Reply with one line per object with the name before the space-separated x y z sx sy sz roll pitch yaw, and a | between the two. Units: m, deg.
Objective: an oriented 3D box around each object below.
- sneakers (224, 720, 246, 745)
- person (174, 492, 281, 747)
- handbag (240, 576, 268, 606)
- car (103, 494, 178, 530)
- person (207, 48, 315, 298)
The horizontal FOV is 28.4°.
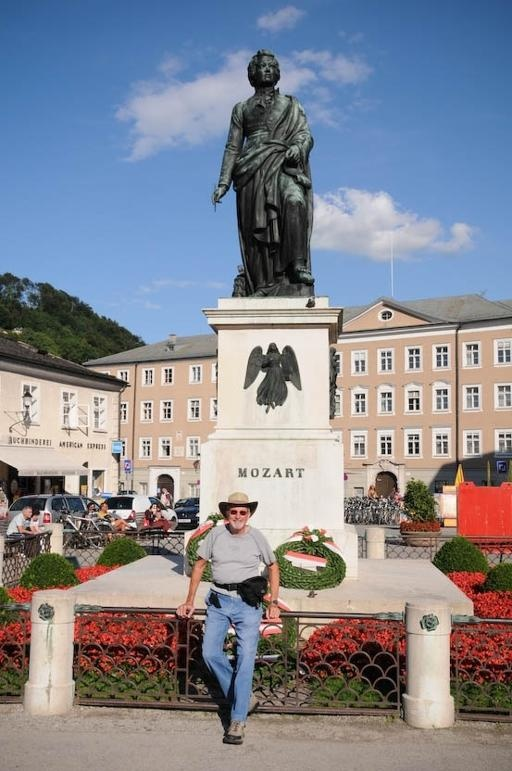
sneakers | -0.154 2.428 7.124 0.145 0.144 0.201 -3 -2 1
person | -0.139 1.654 7.442 0.621 1.713 0.659 -1 -3 -36
handbag | 0.016 1.491 7.431 0.183 0.214 0.231 -9 -7 23
car | -3.803 3.814 31.902 1.422 0.927 2.624 -2 -5 23
person | 0.108 -2.658 12.603 1.169 3.231 0.757 -3 -2 8
